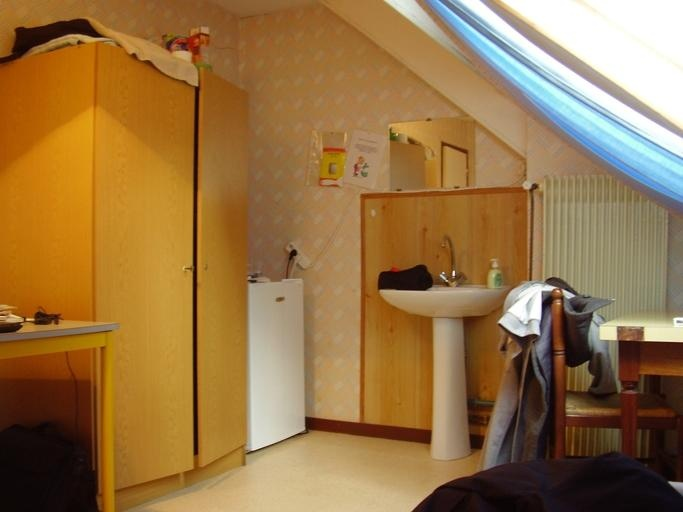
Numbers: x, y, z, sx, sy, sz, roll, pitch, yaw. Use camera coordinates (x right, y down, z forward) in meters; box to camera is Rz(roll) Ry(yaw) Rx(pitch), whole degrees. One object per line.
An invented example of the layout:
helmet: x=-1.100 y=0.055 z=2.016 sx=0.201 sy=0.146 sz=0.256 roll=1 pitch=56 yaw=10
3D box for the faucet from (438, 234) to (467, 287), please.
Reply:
faucet: x=0.730 y=0.029 z=4.027 sx=0.165 sy=0.327 sz=0.188 roll=1 pitch=5 yaw=12
